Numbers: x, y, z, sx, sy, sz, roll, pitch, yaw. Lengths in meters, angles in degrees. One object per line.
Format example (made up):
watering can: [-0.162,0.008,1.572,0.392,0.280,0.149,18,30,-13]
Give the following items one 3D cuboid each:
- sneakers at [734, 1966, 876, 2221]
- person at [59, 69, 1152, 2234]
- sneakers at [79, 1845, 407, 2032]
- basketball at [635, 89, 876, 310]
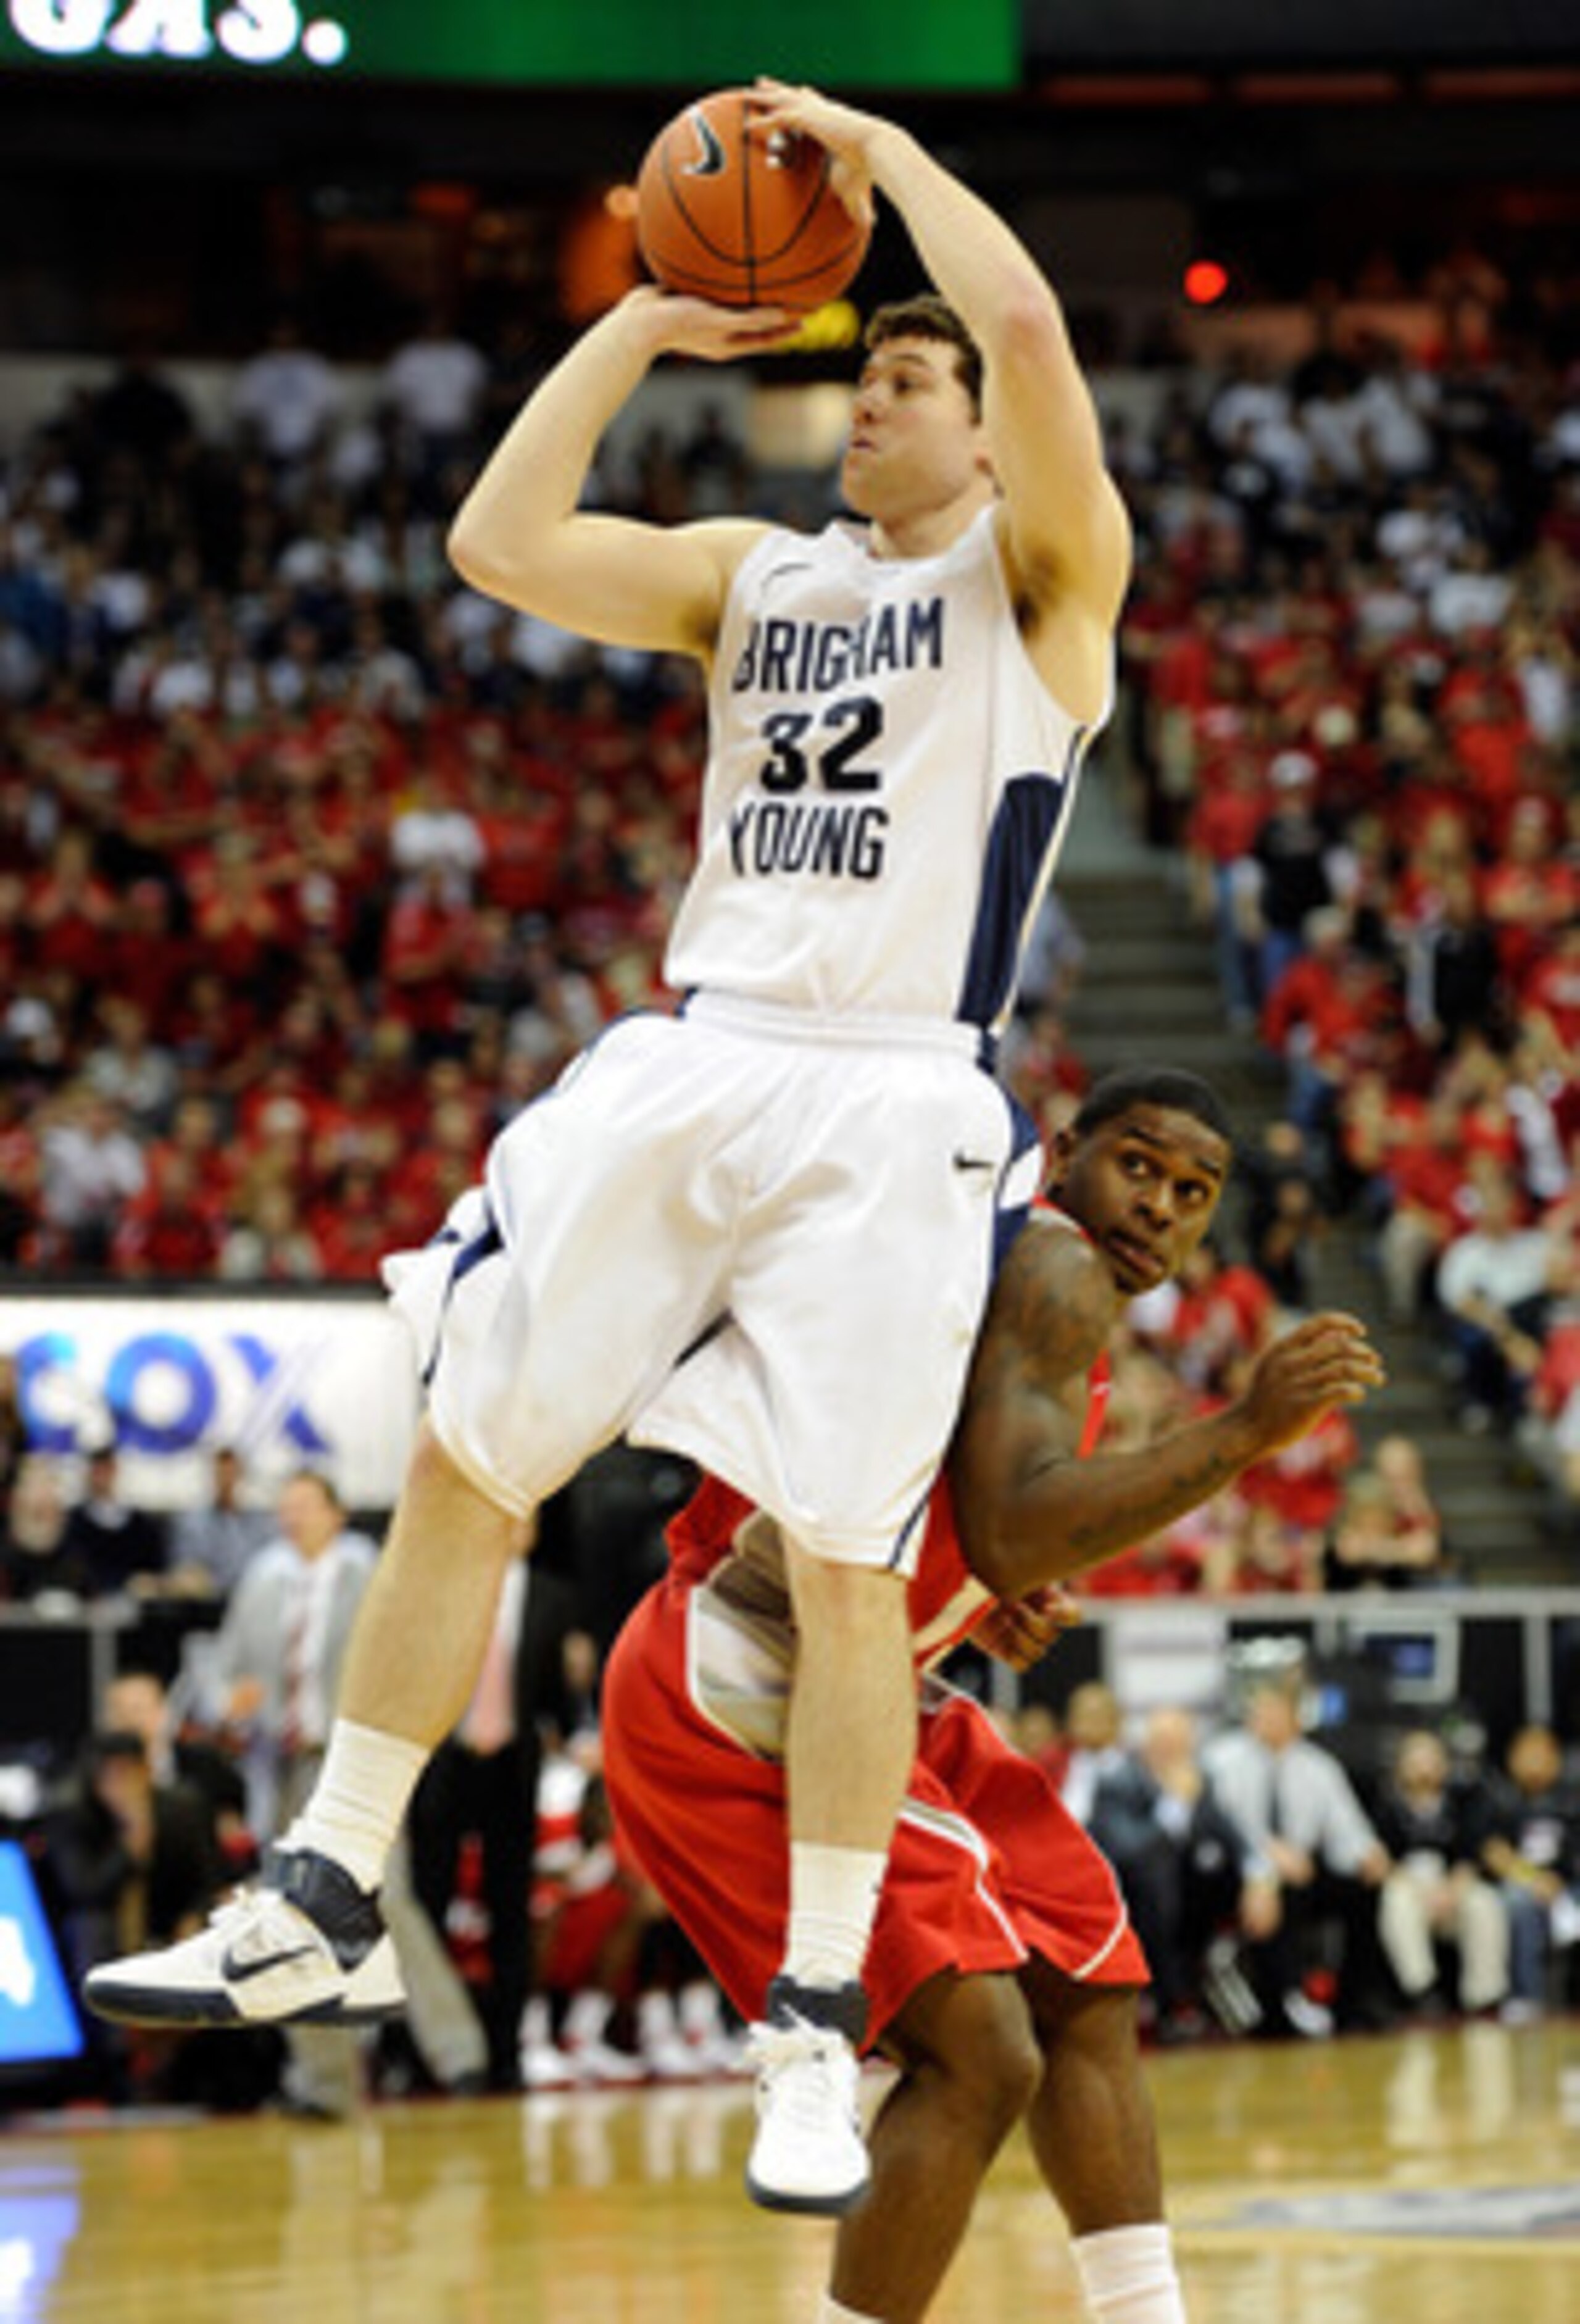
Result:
sneakers: [0.018,0.794,2.162,0.086,0.094,0.238,1,8,3]
person: [-0.053,-0.105,2.483,0.856,2.089,0.374,-8,-17,23]
sneakers: [-0.467,0.729,2.360,0.371,0.194,0.124,3,-9,-7]
basketball: [-0.030,-0.989,2.733,0.256,0.230,0.245,2,-4,-1]
